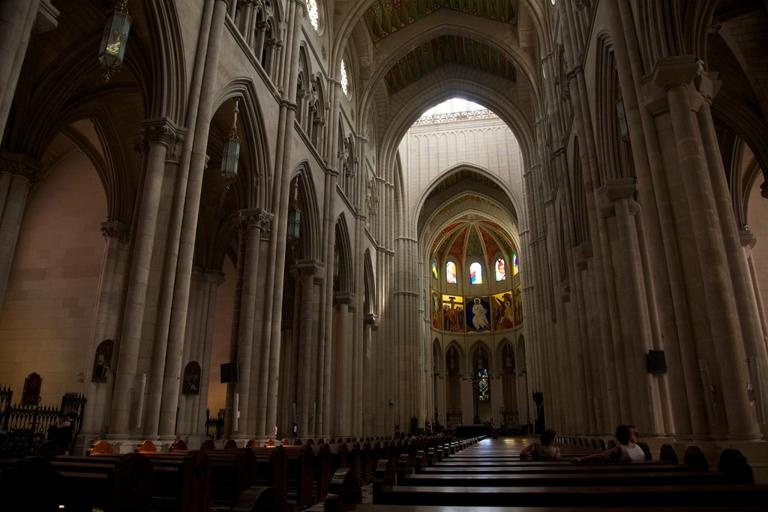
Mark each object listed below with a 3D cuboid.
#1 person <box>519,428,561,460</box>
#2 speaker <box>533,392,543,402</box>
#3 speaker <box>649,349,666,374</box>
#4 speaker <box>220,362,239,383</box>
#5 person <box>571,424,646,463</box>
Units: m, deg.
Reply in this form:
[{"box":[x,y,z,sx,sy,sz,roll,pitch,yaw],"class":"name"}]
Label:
[{"box":[2.991,3.626,10.399,0.561,0.565,1.015,3,-11,13],"class":"person"},{"box":[8.981,8.162,31.518,0.348,0.615,1.408,-3,-22,8],"class":"speaker"},{"box":[6.397,2.471,12.702,0.346,0.454,0.446,-6,-22,14],"class":"speaker"},{"box":[-4.434,3.360,15.555,0.593,0.604,0.216,-1,-5,1],"class":"speaker"},{"box":[4.109,3.284,9.336,0.726,0.387,1.017,-5,-12,24],"class":"person"}]
